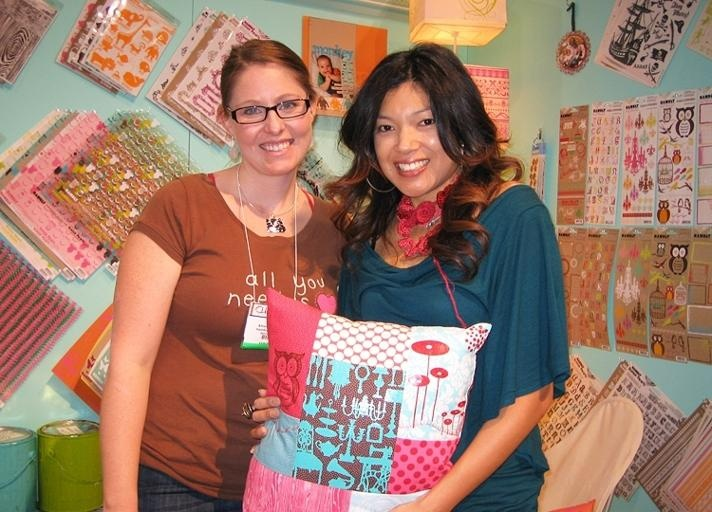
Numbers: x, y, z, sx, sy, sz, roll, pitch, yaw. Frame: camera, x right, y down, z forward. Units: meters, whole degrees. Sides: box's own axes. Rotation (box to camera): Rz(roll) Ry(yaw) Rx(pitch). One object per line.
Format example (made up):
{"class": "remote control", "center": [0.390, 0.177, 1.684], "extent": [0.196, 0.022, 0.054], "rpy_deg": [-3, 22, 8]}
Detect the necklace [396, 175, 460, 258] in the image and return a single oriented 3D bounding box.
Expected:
{"class": "necklace", "center": [0.260, -0.137, 1.837], "extent": [0.067, 0.261, 0.226], "rpy_deg": [12, -15, -33]}

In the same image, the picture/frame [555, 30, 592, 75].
{"class": "picture/frame", "center": [1.380, -1.297, 3.145], "extent": [0.026, 0.327, 0.315], "rpy_deg": [-5, 10, -25]}
